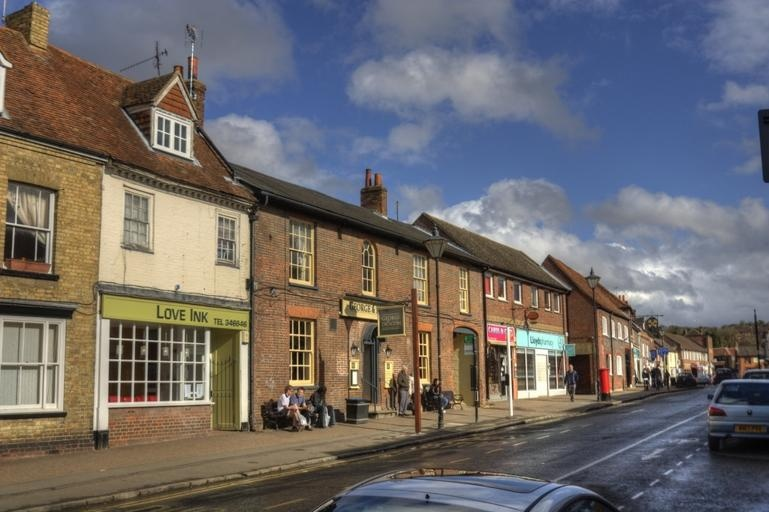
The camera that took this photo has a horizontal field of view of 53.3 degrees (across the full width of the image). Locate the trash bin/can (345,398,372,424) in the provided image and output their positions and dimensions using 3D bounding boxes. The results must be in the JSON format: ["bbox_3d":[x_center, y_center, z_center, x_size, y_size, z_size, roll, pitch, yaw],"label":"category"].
[{"bbox_3d":[-0.982,6.286,30.994,0.804,1.028,1.050,-10,-14,39],"label":"trash bin/can"}]

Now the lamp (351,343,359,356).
[{"bbox_3d":[-1.223,3.967,32.173,0.313,0.445,0.450,1,-13,-6],"label":"lamp"}]

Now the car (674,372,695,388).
[{"bbox_3d":[24.550,10.218,62.411,1.393,0.935,3.958,13,7,24],"label":"car"}]

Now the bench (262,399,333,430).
[{"bbox_3d":[-3.469,6.042,28.896,2.422,0.983,0.605,7,7,-26],"label":"bench"}]

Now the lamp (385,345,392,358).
[{"bbox_3d":[0.195,4.254,34.063,0.261,0.556,0.642,10,6,10],"label":"lamp"}]
